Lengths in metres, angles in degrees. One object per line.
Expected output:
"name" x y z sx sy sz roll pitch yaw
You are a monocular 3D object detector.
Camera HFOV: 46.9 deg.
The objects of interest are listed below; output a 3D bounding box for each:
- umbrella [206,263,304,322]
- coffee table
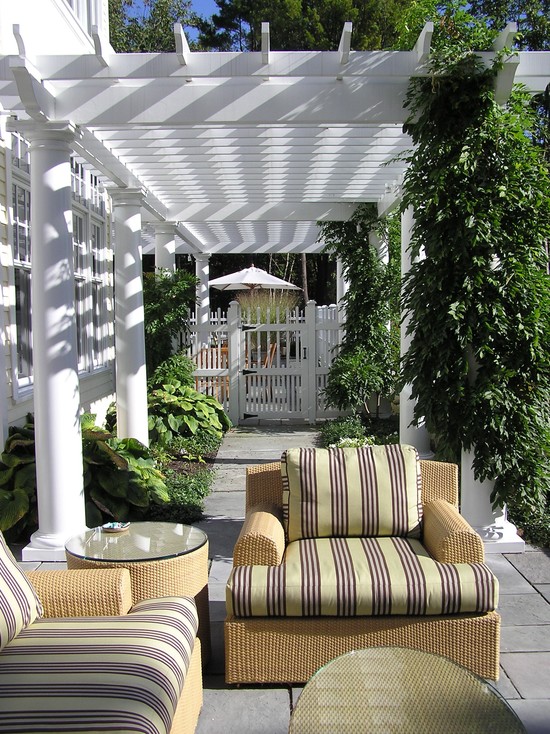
"umbrella" -0.398 -1.821 13.447 1.851 1.512 1.784 1 -2 -3
"coffee table" -0.602 0.921 2.847 0.554 0.608 0.641 -1 0 -7
